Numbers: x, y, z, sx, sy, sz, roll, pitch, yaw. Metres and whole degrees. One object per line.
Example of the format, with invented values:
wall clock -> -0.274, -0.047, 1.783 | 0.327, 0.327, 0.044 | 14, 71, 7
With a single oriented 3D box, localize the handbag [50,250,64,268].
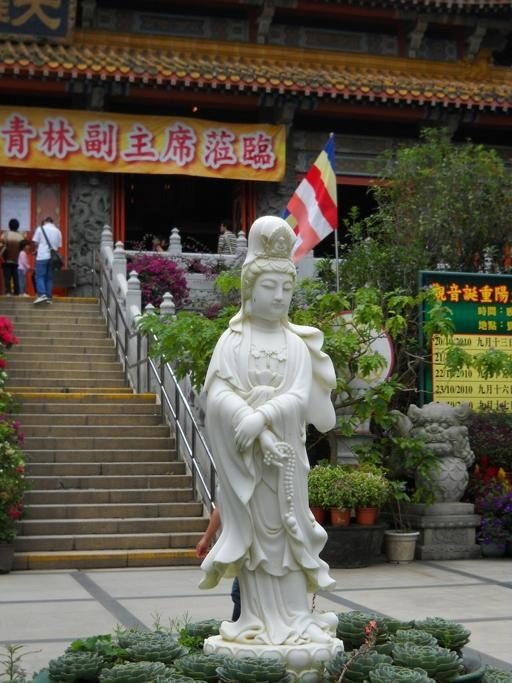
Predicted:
handbag -> -2.917, -1.199, 15.395 | 0.209, 0.348, 0.266 | 1, 12, -1

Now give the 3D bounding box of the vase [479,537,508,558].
vase -> 2.424, 2.110, 10.671 | 0.238, 0.134, 0.227 | 0, -10, -2

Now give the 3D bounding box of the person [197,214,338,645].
person -> 0.074, 0.389, 5.199 | 0.690, 2.091, 0.707 | 0, 1, 17

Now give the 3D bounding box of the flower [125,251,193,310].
flower -> -1.411, -0.896, 15.265 | 0.865, 0.821, 0.821 | -1, 0, -5
